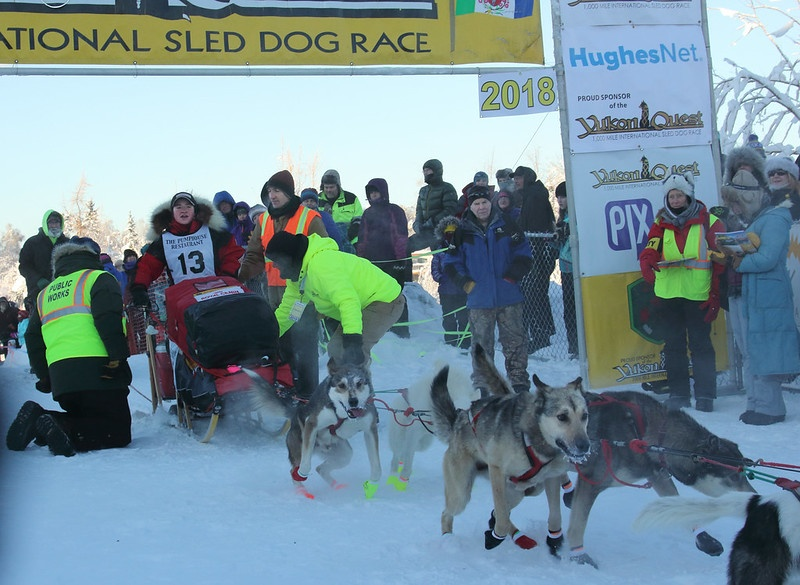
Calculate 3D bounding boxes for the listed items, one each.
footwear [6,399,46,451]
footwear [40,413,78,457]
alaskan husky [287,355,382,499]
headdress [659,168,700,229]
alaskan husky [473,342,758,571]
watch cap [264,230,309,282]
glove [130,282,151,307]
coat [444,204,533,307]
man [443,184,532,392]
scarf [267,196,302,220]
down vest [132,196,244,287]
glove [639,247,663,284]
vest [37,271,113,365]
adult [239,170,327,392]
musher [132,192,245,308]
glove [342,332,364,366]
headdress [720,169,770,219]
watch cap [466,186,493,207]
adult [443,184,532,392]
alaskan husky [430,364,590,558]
[{"bbox_3d":[-3.462,1.248,7.085,0.136,0.395,0.178,26,-1,27],"label":"footwear"},{"bbox_3d":[-3.101,1.290,6.915,0.326,0.368,0.316,-1,10,-21],"label":"footwear"},{"bbox_3d":[-0.597,1.089,6.926,0.674,1.335,1.899,-1,4,-18],"label":"alaskan husky"},{"bbox_3d":[2.851,-0.956,7.844,0.367,0.551,0.371,-1,-11,5],"label":"headdress"},{"bbox_3d":[1.447,1.356,5.839,2.503,1.414,0.667,-4,-12,37],"label":"alaskan husky"},{"bbox_3d":[-1.026,-0.341,7.066,0.436,0.446,0.334,1,22,-4],"label":"watch cap"},{"bbox_3d":[-2.631,0.027,7.750,0.199,0.284,0.200,-5,2,12],"label":"glove"},{"bbox_3d":[1.036,-0.456,8.683,1.218,1.289,0.699,-4,-11,5],"label":"coat"},{"bbox_3d":[0.999,-0.011,8.398,0.929,2.320,0.524,-7,5,7],"label":"man"},{"bbox_3d":[-1.195,-0.883,8.071,0.217,0.126,0.283,-10,26,36],"label":"scarf"},{"bbox_3d":[-2.173,-0.505,8.016,0.958,1.174,0.694,-17,1,-13],"label":"down vest"},{"bbox_3d":[2.593,-0.284,7.922,0.302,0.316,0.119,-8,-2,32],"label":"glove"},{"bbox_3d":[-3.040,0.252,7.227,0.607,0.779,0.428,-22,-14,19],"label":"vest"},{"bbox_3d":[-1.244,-0.016,8.153,0.952,2.578,0.852,-2,6,-3],"label":"adult"},{"bbox_3d":[-2.224,-0.271,7.974,1.172,1.570,0.717,-9,0,-15],"label":"musher"},{"bbox_3d":[-0.421,0.500,6.861,0.191,0.253,0.098,0,-9,-9],"label":"glove"},{"bbox_3d":[3.461,-0.992,7.754,0.386,0.539,0.459,-18,13,1],"label":"headdress"},{"bbox_3d":[0.863,-1.068,8.410,0.242,0.237,0.304,-6,-27,-10],"label":"watch cap"},{"bbox_3d":[1.006,0.012,8.397,0.904,2.328,0.516,-7,2,8],"label":"adult"},{"bbox_3d":[0.764,1.187,5.542,1.246,1.258,0.495,7,10,25],"label":"alaskan husky"}]
